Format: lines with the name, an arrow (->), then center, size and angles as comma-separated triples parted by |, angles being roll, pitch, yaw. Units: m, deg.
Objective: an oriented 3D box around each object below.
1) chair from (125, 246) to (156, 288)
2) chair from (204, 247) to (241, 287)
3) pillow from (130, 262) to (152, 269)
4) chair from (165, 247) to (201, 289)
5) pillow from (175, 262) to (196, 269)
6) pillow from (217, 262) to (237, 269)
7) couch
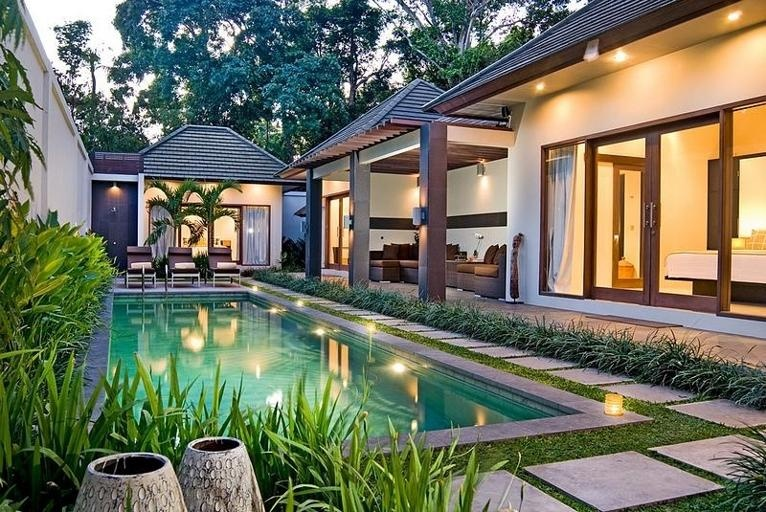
chair -> -6.633, 0.270, 14.708 | 0.715, 1.085, 1.176 | 0, 3, -30
chair -> -4.735, 0.251, 15.974 | 0.737, 1.065, 1.425 | 0, 3, -27
pillow -> -6.304, 0.242, 14.089 | 0.497, 0.140, 0.688 | 3, -1, -26
chair -> -5.709, 0.226, 15.386 | 0.762, 0.984, 1.347 | 0, 3, -28
pillow -> -5.602, 0.265, 15.214 | 0.497, 0.149, 0.261 | 3, -1, -28
pillow -> -4.474, 0.269, 15.536 | 0.551, 0.157, 0.239 | 3, -1, -15
couch -> 1.607, 0.267, 14.491 | 1.402, 1.392, 7.246 | 3, -1, -25
